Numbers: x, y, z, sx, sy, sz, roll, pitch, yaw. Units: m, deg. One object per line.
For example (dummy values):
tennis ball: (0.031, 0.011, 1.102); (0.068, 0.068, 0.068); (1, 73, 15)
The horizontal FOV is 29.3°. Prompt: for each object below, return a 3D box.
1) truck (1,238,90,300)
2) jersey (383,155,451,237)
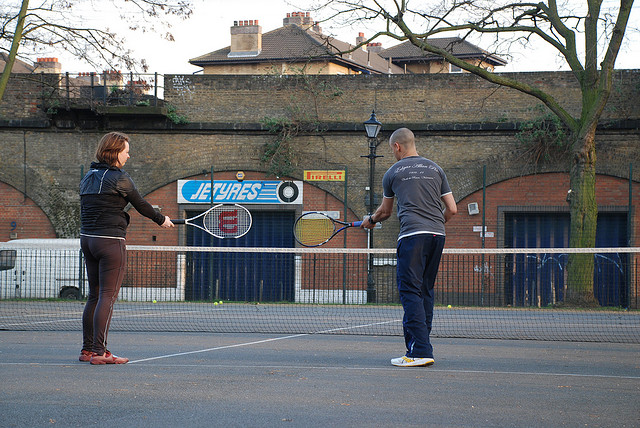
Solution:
truck: (-9.282, 1.909, 40.956); (2.726, 1.794, 2.899); (-1, 10, -15)
jersey: (2.334, -0.396, 29.431); (1.533, 1.893, 0.640); (2, 10, 7)
